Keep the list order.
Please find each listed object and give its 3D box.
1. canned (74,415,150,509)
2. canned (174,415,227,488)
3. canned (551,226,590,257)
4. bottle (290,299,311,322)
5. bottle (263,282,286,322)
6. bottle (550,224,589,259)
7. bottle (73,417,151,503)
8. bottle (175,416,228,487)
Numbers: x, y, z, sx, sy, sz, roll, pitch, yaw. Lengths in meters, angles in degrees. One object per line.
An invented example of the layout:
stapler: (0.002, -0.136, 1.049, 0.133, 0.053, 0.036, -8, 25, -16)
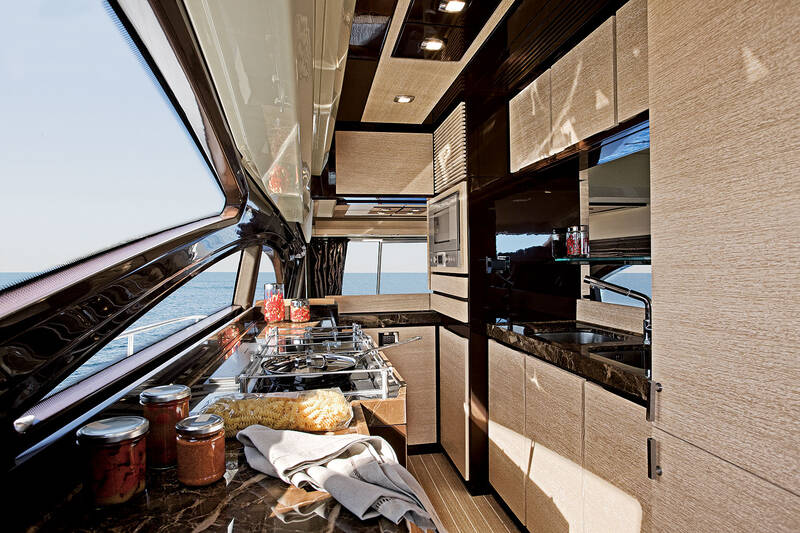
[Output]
canned: (-0.667, 0.444, 1.035, 0.145, 0.145, 0.146, 1, -1, -12)
canned: (-0.496, 0.452, 1.110, 0.125, 0.128, 0.119, 0, -1, -10)
canned: (0.954, -0.138, 2.596, 0.163, 0.190, 0.224, 3, -5, -20)
bottle: (-0.696, 0.317, 3.236, 0.152, 0.155, 0.148, 0, -5, 0)
bottle: (-0.902, 0.254, 3.172, 0.135, 0.266, 0.224, -3, 8, -18)
bottle: (0.965, -0.135, 2.552, 0.162, 0.225, 0.257, 2, -5, -18)
bottle: (-0.668, 0.445, 1.038, 0.154, 0.151, 0.152, 2, -1, -11)
bottle: (-0.498, 0.451, 1.111, 0.122, 0.128, 0.126, -1, -2, 33)
